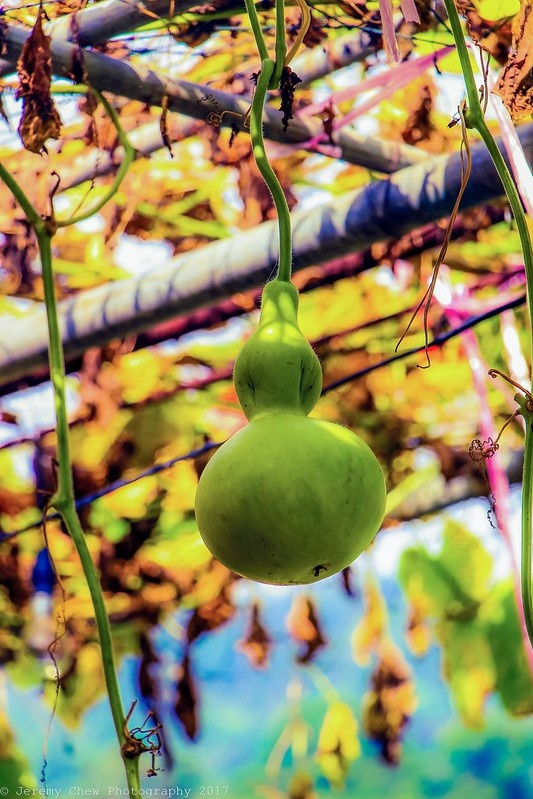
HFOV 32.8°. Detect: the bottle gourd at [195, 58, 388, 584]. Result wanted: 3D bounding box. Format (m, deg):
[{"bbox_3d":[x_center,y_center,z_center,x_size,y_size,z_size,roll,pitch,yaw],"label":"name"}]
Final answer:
[{"bbox_3d":[0.022,-0.031,0.828,0.162,0.454,0.287,-1,29,12],"label":"bottle gourd"}]
